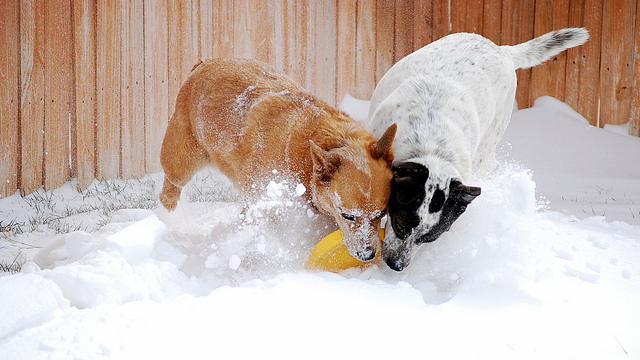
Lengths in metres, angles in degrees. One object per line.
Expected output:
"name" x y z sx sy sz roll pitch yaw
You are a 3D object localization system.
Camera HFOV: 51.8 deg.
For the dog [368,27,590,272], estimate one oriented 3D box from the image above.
"dog" 2.060 -0.947 10.106 1.752 4.090 2.181 20 -16 11
